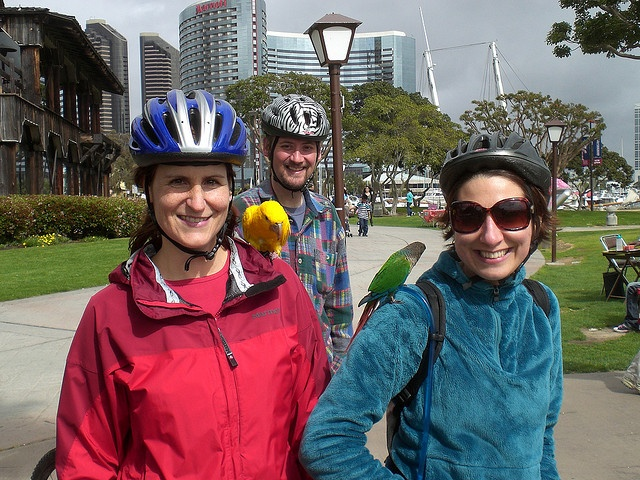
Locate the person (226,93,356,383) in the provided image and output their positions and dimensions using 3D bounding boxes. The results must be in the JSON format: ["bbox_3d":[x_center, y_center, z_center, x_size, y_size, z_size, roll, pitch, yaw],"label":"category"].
[{"bbox_3d":[-0.153,-0.182,3.925,1.013,2.170,0.774,-5,18,-30],"label":"person"}]

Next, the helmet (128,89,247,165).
[{"bbox_3d":[-0.678,-0.555,2.728,0.432,0.350,0.655,1,4,-15],"label":"helmet"}]

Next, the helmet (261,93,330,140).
[{"bbox_3d":[-0.189,-0.895,4.090,0.293,0.214,0.447,2,5,-19],"label":"helmet"}]

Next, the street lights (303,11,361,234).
[{"bbox_3d":[0.284,-2.477,8.282,0.627,3.929,0.640,-9,18,-35],"label":"street lights"}]

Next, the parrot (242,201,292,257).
[{"bbox_3d":[-0.389,-0.101,3.817,0.252,0.414,0.394,-2,20,-22],"label":"parrot"}]
